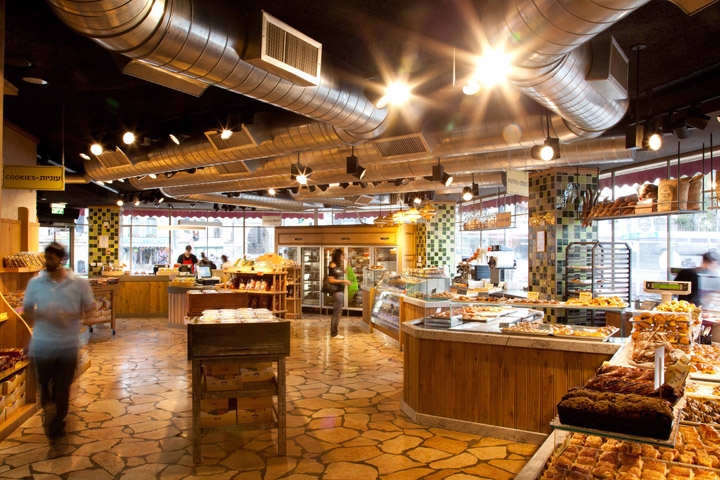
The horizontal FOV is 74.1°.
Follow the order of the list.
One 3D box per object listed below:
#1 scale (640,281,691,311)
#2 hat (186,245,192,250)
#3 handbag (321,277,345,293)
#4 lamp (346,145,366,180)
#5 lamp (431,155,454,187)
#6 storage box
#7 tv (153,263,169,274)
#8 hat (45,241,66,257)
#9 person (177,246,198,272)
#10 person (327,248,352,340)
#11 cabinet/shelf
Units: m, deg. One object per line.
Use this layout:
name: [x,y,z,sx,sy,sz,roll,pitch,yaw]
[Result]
scale: [4.499,0.811,6.966,0.232,0.408,0.667,8,-8,-38]
hat: [-6.183,0.274,16.964,0.231,0.195,0.200,-5,-7,40]
handbag: [-0.636,1.087,11.533,0.511,0.410,0.375,-3,-4,28]
lamp: [-0.118,-1.409,8.727,0.281,0.520,0.604,0,3,13]
lamp: [1.451,-1.250,9.049,0.399,0.493,0.564,2,1,44]
storage box: [-1.591,1.929,6.236,1.085,0.841,0.649,-2,2,-4]
tv: [-7.066,1.002,16.700,0.592,0.279,0.521,1,2,-4]
hat: [-3.948,0.131,6.109,0.230,0.187,0.239,-2,3,-32]
person: [-6.312,0.687,17.127,0.860,1.116,0.719,2,-15,-23]
person: [-0.595,1.282,11.927,0.546,2.169,1.558,-1,3,-4]
cabinet/shelf: [-2.641,1.500,13.071,1.923,1.631,1.753,-1,3,-9]
